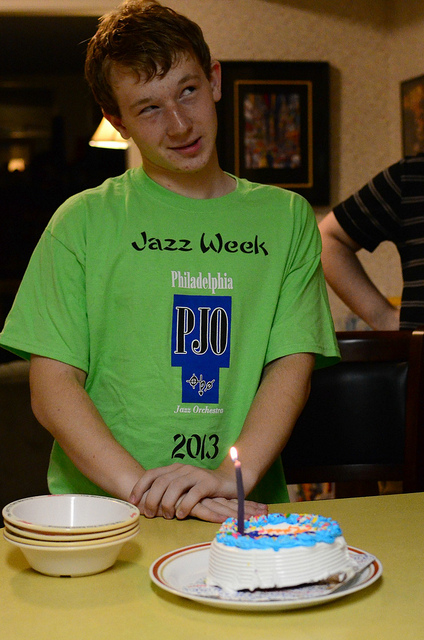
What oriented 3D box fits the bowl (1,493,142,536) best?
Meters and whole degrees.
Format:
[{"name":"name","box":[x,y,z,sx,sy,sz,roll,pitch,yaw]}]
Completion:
[{"name":"bowl","box":[-0.158,0.183,0.575,0.077,0.017,0.076,2,4,0]}]

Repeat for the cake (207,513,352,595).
[{"name":"cake","box":[0.060,0.215,0.523,0.121,0.048,0.117,-19,-21,38]}]

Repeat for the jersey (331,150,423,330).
[{"name":"jersey","box":[0.570,-0.237,1.934,0.133,0.567,0.359,1,-9,-21]}]

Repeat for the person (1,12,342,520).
[{"name":"person","box":[-0.060,-0.106,1.102,0.414,0.849,0.491,-8,-10,36]}]
